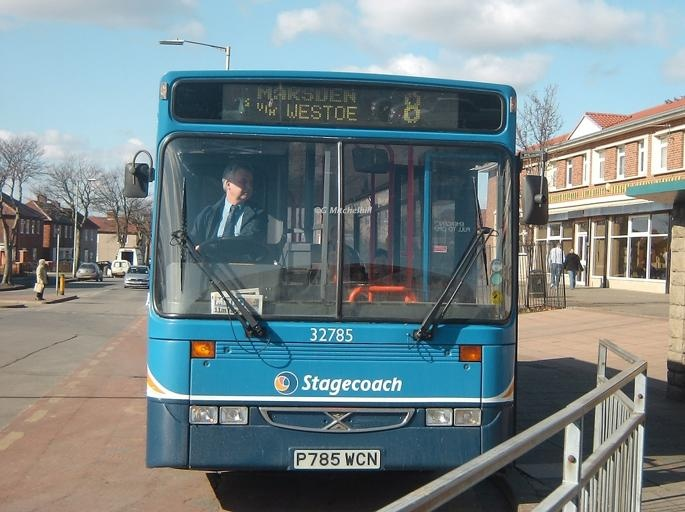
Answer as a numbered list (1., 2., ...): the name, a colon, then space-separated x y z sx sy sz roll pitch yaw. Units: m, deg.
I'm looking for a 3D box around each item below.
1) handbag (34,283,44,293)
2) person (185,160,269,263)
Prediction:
1. handbag: -11.955 1.260 29.367 0.447 0.526 0.340 1 3 -19
2. person: -1.054 -0.276 7.016 0.747 1.184 0.751 3 -13 -16
